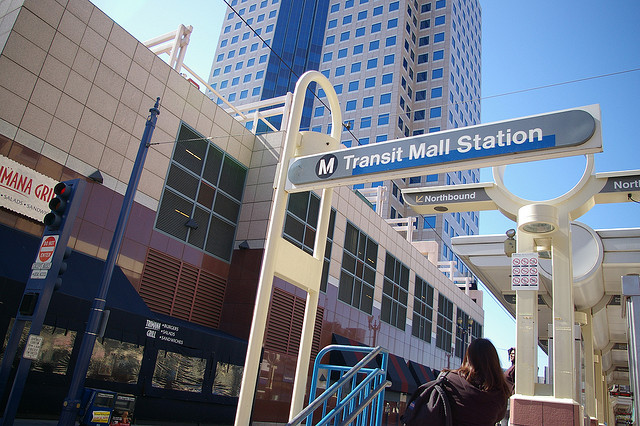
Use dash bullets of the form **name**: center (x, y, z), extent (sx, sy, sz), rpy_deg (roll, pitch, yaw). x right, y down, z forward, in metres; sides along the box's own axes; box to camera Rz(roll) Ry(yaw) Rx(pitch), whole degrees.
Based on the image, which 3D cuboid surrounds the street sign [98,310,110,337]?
- **street sign**: center (-6.035, 3.038, 12.385), extent (0.158, 0.712, 1.036), rpy_deg (17, -29, -21)

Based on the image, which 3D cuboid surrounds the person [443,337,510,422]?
- **person**: center (1.814, 1.918, 5.138), extent (0.817, 0.909, 0.359), rpy_deg (15, -27, -16)

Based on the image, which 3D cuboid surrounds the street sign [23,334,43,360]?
- **street sign**: center (-5.984, 2.764, 9.267), extent (0.255, 0.456, 0.273), rpy_deg (21, -30, -27)

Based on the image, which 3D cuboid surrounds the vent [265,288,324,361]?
- **vent**: center (-1.496, 4.850, 19.693), extent (0.614, 2.570, 2.266), rpy_deg (-7, -29, 26)

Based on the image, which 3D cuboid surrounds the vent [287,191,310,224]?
- **vent**: center (-1.130, -0.243, 20.875), extent (0.308, 1.282, 1.374), rpy_deg (-2, 0, 34)

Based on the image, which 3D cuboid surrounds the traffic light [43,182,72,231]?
- **traffic light**: center (-5.778, -0.166, 9.824), extent (0.515, 1.087, 0.330), rpy_deg (-9, -30, 29)

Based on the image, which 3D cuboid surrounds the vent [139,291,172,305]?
- **vent**: center (-6.034, 3.121, 16.381), extent (0.057, 0.159, 1.333), rpy_deg (-15, -34, 38)

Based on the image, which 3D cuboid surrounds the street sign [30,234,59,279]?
- **street sign**: center (-5.950, 0.934, 9.607), extent (0.677, 0.951, 0.219), rpy_deg (-11, -31, 31)
